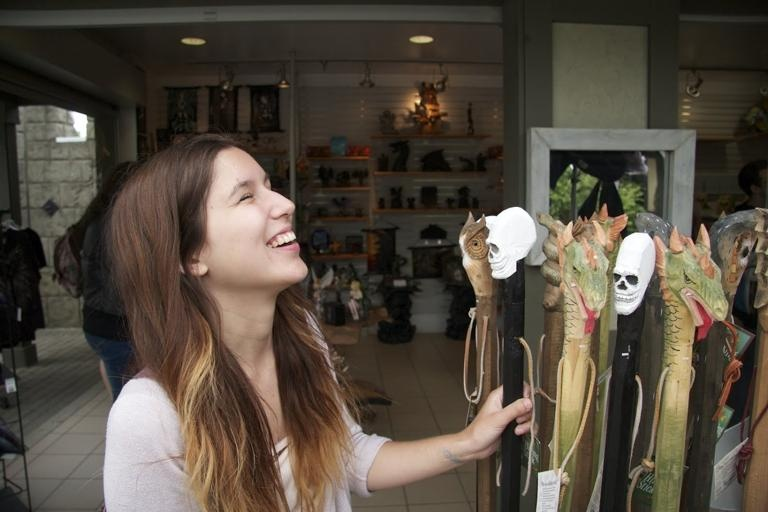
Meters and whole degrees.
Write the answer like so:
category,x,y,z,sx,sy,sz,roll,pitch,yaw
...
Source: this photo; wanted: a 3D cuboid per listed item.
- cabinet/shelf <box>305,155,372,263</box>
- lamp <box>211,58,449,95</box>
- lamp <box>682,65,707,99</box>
category,x,y,z,sx,sy,sz,roll,pitch,yaw
cabinet/shelf,-0.602,-0.495,8.257,0.914,1.427,0.327,0,7,-3
lamp,-0.593,-2.192,7.871,2.799,0.361,0.479,0,3,-2
lamp,2.522,-1.408,5.210,0.116,0.194,0.195,1,9,5
